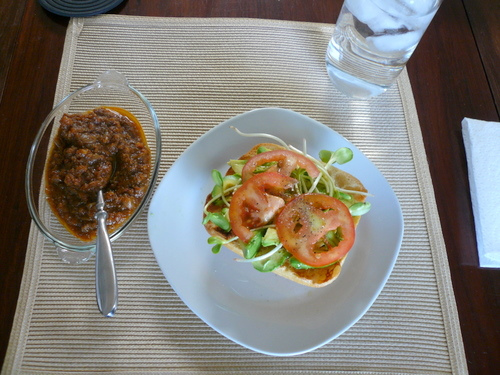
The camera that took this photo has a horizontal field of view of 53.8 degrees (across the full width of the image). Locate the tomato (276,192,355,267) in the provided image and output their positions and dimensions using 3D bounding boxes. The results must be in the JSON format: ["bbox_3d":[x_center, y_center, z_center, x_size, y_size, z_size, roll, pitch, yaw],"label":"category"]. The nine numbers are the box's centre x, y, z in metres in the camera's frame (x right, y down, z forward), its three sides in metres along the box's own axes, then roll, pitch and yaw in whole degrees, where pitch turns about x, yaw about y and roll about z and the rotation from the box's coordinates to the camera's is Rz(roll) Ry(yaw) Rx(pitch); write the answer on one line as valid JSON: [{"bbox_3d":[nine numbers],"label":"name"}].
[{"bbox_3d":[0.332,0.209,2.523,0.382,0.373,0.106,-28,-7,-4],"label":"tomato"}]

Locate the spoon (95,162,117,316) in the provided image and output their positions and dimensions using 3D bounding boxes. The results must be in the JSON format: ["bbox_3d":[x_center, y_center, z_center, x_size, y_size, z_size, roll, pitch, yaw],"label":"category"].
[{"bbox_3d":[-0.721,0.219,2.441,0.121,1.054,0.086,-2,30,-20],"label":"spoon"}]
